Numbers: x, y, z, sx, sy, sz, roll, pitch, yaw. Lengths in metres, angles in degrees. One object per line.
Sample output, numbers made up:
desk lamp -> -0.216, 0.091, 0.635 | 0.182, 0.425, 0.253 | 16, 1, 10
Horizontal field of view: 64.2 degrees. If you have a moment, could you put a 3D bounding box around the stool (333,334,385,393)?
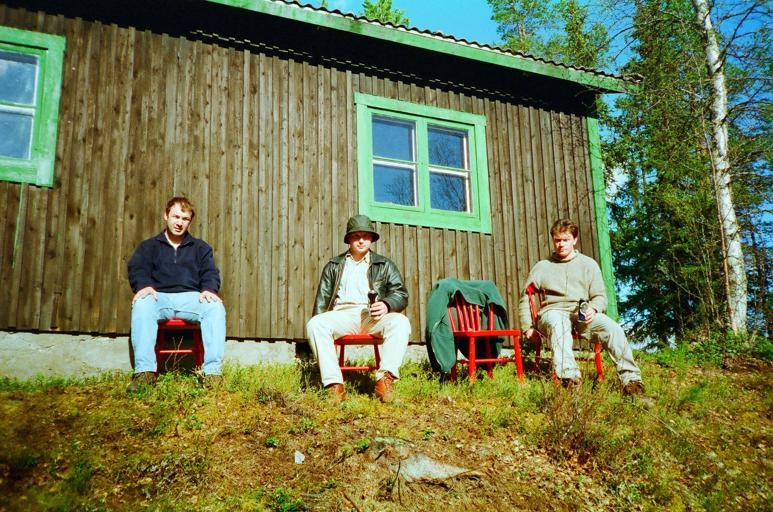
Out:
stool -> -0.371, 1.335, 8.126 | 0.659, 0.884, 0.543 | -2, -4, -5

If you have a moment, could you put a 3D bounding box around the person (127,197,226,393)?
person -> -2.654, 0.364, 7.772 | 1.139, 2.359, 0.895 | 1, -5, -24

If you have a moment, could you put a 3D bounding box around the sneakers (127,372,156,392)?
sneakers -> -2.899, 1.478, 7.294 | 0.315, 0.221, 0.221 | 2, -5, -30

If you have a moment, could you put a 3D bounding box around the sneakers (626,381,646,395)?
sneakers -> 3.108, 1.663, 7.786 | 0.188, 0.101, 0.173 | -3, -3, 32

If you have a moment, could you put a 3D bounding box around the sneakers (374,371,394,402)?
sneakers -> -0.043, 1.606, 7.572 | 0.174, 0.448, 0.159 | -22, -50, 11

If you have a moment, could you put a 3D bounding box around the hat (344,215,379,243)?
hat -> -0.375, -0.404, 8.359 | 0.333, 0.243, 0.423 | -1, -5, -5

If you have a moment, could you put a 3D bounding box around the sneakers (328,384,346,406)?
sneakers -> -0.630, 1.667, 7.458 | 0.244, 0.231, 0.210 | -2, -5, 13

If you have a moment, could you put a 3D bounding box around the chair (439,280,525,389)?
chair -> 1.221, 1.124, 8.593 | 1.097, 1.768, 1.086 | 6, -14, -28

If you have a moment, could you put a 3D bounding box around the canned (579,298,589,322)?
canned -> 2.576, 0.712, 8.146 | 0.112, 0.283, 0.163 | -2, -5, 18
